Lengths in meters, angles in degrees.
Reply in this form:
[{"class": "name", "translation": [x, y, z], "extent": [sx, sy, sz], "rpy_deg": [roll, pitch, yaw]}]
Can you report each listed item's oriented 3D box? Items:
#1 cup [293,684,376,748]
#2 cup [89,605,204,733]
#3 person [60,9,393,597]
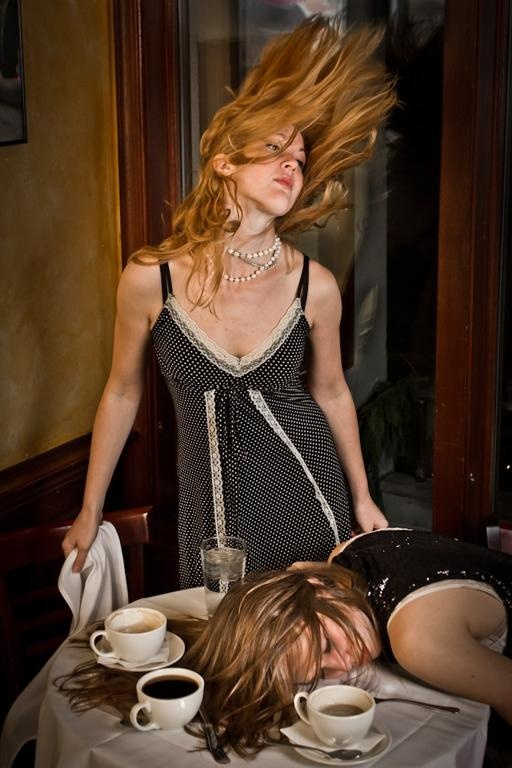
[{"class": "cup", "translation": [0.090, 0.359, 0.701], "extent": [0.077, 0.049, 0.063], "rpy_deg": [7, 11, 44]}, {"class": "cup", "translation": [-0.139, 0.375, 0.819], "extent": [0.090, 0.054, 0.154], "rpy_deg": [2, 16, -4]}, {"class": "person", "translation": [-0.046, -0.198, 1.481], "extent": [0.954, 1.271, 0.391], "rpy_deg": [-15, 10, -36]}]
